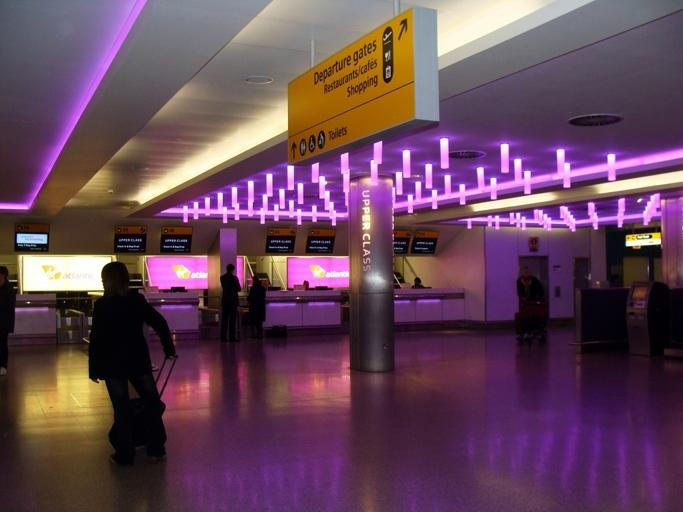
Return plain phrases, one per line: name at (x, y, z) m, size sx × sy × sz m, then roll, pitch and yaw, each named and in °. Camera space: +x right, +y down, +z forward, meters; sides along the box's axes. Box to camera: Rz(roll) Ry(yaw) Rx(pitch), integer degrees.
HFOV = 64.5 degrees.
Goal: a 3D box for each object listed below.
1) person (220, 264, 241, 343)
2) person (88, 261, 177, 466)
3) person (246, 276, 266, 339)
person at (-3.116, 1.332, 15.134) m, size 0.475 × 2.139 × 0.727 m, roll 0°, pitch -2°, yaw -13°
person at (-2.177, 1.090, 5.593) m, size 0.787 × 2.048 × 0.529 m, roll 0°, pitch -2°, yaw -24°
person at (-2.528, 1.524, 16.142) m, size 0.520 × 1.819 × 0.736 m, roll 0°, pitch -2°, yaw -9°
